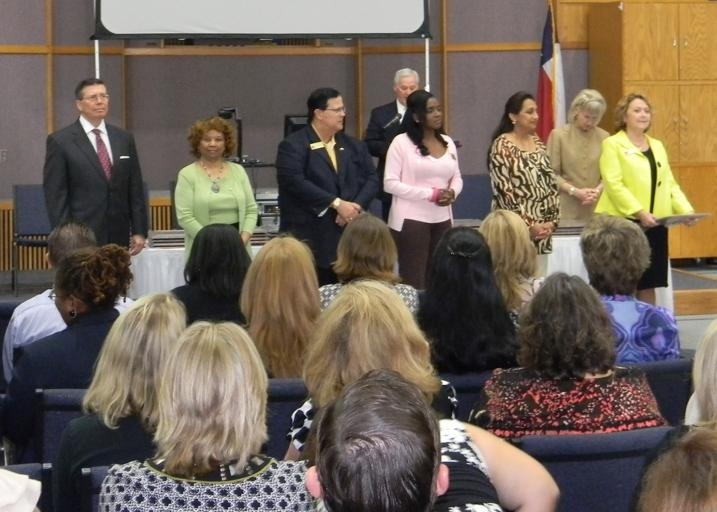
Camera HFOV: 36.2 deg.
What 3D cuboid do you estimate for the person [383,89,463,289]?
[{"bbox_3d":[0.470,-0.254,7.472,0.553,1.712,0.529,-5,22,-13],"label":"person"}]

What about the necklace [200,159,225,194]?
[{"bbox_3d":[-0.994,-0.520,7.393,0.161,0.078,0.263,-9,54,-1],"label":"necklace"}]

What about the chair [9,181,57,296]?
[{"bbox_3d":[-2.848,-0.153,9.474,0.401,0.830,0.452,-2,-2,-28],"label":"chair"}]

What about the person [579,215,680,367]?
[{"bbox_3d":[1.390,0.177,5.673,0.527,0.958,0.372,-9,17,15],"label":"person"}]

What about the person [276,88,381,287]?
[{"bbox_3d":[-0.206,-0.121,7.384,0.605,1.921,0.629,0,6,-23],"label":"person"}]

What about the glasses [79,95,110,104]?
[{"bbox_3d":[-1.730,-1.015,7.175,0.171,0.056,0.079,-7,13,-33],"label":"glasses"}]

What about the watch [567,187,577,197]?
[{"bbox_3d":[1.516,-0.445,7.800,0.013,0.058,0.054,22,-6,-40],"label":"watch"}]

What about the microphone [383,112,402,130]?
[{"bbox_3d":[0.260,-1.001,8.256,0.063,0.053,0.195,40,64,19],"label":"microphone"}]

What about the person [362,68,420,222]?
[{"bbox_3d":[0.311,-0.706,8.488,0.456,1.378,0.444,-12,27,-21],"label":"person"}]

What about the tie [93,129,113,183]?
[{"bbox_3d":[-1.693,-0.651,7.282,0.068,0.457,0.021,-13,9,-34],"label":"tie"}]

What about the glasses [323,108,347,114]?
[{"bbox_3d":[-0.162,-0.949,7.221,0.119,0.037,0.026,-5,12,-24],"label":"glasses"}]

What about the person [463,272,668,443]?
[{"bbox_3d":[0.943,0.503,4.918,0.783,0.768,0.448,-3,-21,9],"label":"person"}]

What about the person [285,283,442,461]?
[{"bbox_3d":[0.040,0.422,4.703,0.516,0.767,0.431,-8,32,-6],"label":"person"}]

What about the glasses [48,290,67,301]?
[{"bbox_3d":[-1.463,0.202,5.345,0.110,0.037,0.116,2,1,-30],"label":"glasses"}]

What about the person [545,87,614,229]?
[{"bbox_3d":[1.611,-0.416,8.065,0.419,1.507,0.437,-2,19,-4],"label":"person"}]

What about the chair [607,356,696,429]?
[{"bbox_3d":[1.374,0.598,5.243,0.300,0.425,0.332,-2,12,0],"label":"chair"}]
